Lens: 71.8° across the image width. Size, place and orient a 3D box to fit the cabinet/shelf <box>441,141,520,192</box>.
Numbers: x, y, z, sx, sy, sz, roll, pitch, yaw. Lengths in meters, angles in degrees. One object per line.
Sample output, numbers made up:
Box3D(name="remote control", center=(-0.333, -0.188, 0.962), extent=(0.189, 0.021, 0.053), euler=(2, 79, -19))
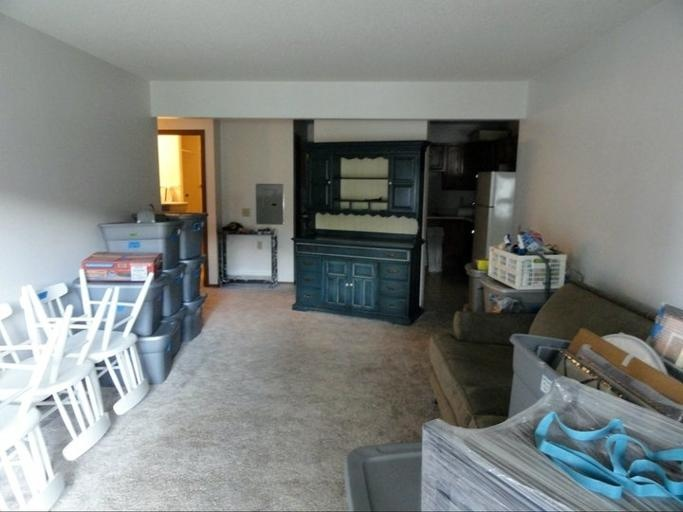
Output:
Box3D(name="cabinet/shelf", center=(2.420, -1.614, 8.432), extent=(0.529, 0.899, 1.590), euler=(-3, 9, -21))

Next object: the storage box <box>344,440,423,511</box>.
Box3D(name="storage box", center=(0.162, 0.845, 1.821), extent=(0.291, 0.124, 0.286), euler=(0, 8, 3))

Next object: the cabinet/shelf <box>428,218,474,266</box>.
Box3D(name="cabinet/shelf", center=(2.114, -0.271, 9.139), extent=(0.786, 1.036, 1.060), euler=(2, 8, 14))

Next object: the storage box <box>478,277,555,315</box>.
Box3D(name="storage box", center=(1.551, 0.407, 4.236), extent=(0.475, 0.294, 0.360), euler=(-2, 12, -7))

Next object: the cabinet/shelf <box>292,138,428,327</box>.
Box3D(name="cabinet/shelf", center=(0.220, -0.351, 6.054), extent=(1.646, 2.201, 0.709), euler=(3, 9, 21))

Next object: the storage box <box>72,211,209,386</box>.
Box3D(name="storage box", center=(-1.842, 0.385, 4.242), extent=(0.716, 1.289, 1.492), euler=(0, 9, -2))

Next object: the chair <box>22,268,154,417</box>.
Box3D(name="chair", center=(-1.978, 0.661, 3.819), extent=(0.740, 1.055, 0.589), euler=(1, 12, 9))
